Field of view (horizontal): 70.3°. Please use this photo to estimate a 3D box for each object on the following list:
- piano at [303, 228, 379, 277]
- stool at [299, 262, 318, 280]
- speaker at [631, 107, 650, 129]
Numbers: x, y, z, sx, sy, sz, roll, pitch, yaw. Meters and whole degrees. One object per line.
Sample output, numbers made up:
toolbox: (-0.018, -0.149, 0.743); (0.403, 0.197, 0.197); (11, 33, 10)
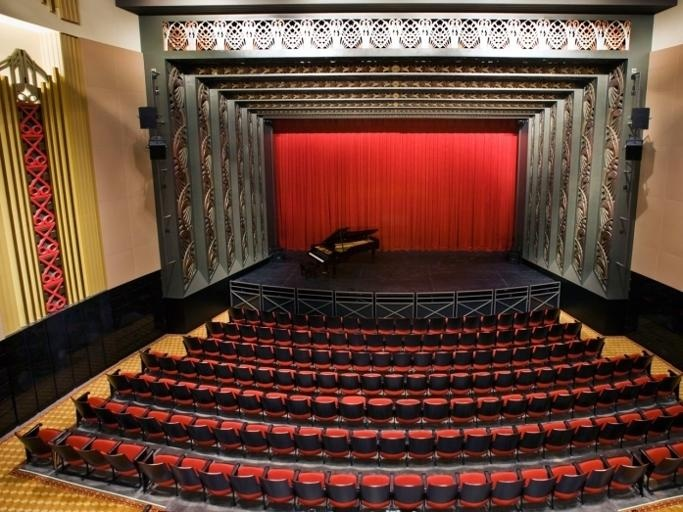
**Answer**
piano: (0.015, -0.160, 18.807); (3.058, 1.528, 1.591); (-11, 17, -34)
stool: (-1.151, 0.514, 18.076); (0.632, 0.578, 0.638); (13, 20, 40)
speaker: (7.538, -3.543, 12.338); (0.433, 0.681, 0.325); (18, -11, -41)
